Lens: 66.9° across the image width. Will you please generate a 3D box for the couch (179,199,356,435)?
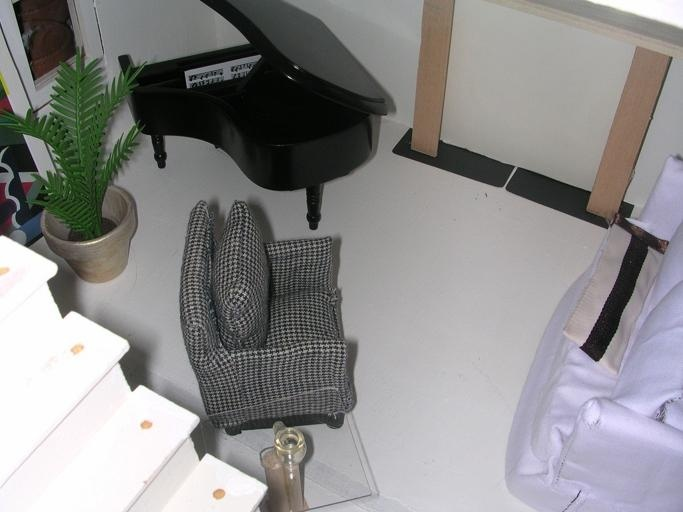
[{"bbox_3d":[-0.402,0.375,2.964,0.882,1.183,0.994,7,42,5],"label":"couch"}]
